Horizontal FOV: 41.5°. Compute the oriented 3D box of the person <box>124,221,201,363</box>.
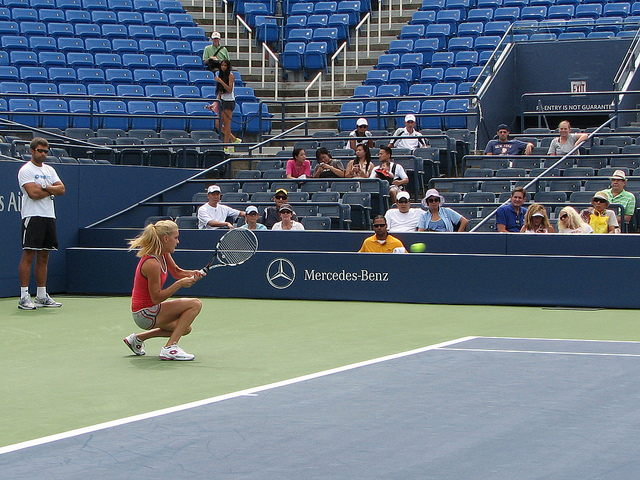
[{"bbox_3d":[-1.521,0.495,7.998,0.802,1.356,0.644,0,8,7],"label":"person"}]

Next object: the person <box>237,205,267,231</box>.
[{"bbox_3d":[-0.982,-0.336,12.566,0.342,0.328,0.767,-2,6,-6],"label":"person"}]

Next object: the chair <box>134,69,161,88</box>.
[{"bbox_3d":[-4.166,-3.908,20.403,0.618,0.485,0.605,-6,8,-38],"label":"chair"}]

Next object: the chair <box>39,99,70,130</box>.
[{"bbox_3d":[-5.740,-2.731,18.185,0.618,0.667,0.976,-3,7,-15],"label":"chair"}]

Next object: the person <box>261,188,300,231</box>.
[{"bbox_3d":[-0.633,-0.364,12.714,0.643,0.846,0.456,0,-14,9],"label":"person"}]

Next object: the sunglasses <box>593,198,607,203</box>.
[{"bbox_3d":[3.739,-0.530,11.200,0.144,0.061,0.060,1,7,14],"label":"sunglasses"}]

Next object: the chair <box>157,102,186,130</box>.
[{"bbox_3d":[-3.371,-2.828,19.086,0.611,0.657,1.369,-2,6,-10],"label":"chair"}]

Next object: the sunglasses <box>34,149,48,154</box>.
[{"bbox_3d":[-3.576,-1.142,10.862,0.124,0.057,0.195,1,6,16],"label":"sunglasses"}]

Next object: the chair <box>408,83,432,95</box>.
[{"bbox_3d":[2.331,-3.532,19.775,0.429,0.307,0.347,-1,-15,14],"label":"chair"}]

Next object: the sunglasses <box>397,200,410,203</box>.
[{"bbox_3d":[1.197,-0.563,12.147,0.157,0.038,0.073,1,7,18],"label":"sunglasses"}]

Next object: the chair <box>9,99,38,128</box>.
[{"bbox_3d":[-6.475,-2.748,17.986,0.833,0.683,0.763,-1,10,-11],"label":"chair"}]

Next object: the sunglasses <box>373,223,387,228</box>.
[{"bbox_3d":[0.813,-0.202,11.417,0.145,0.059,0.076,-1,7,3],"label":"sunglasses"}]

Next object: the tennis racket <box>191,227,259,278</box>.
[{"bbox_3d":[-0.862,0.084,8.637,0.399,0.403,1.032,-2,6,-6],"label":"tennis racket"}]

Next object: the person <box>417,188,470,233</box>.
[{"bbox_3d":[1.742,-0.415,11.959,0.680,0.604,0.853,0,7,10],"label":"person"}]
